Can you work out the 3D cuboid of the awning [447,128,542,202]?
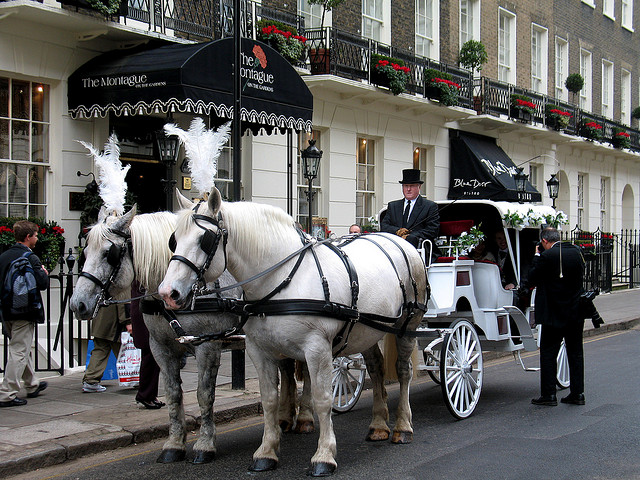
[{"bbox_3d":[5.323,-2.253,28.379,1.878,2.258,3.108,0,0,39],"label":"awning"}]

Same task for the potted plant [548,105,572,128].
[{"bbox_3d":[8.004,-4.216,31.728,0.950,0.718,0.727,1,0,-42],"label":"potted plant"}]

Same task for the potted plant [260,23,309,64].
[{"bbox_3d":[-0.812,-4.574,21.643,0.966,0.304,0.800,32,20,21],"label":"potted plant"}]

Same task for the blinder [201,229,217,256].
[{"bbox_3d":[-1.423,0.019,12.022,0.205,0.306,0.092,-2,9,-15],"label":"blinder"}]

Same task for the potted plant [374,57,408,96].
[{"bbox_3d":[1.881,-4.252,24.216,0.976,0.938,0.422,-8,12,-42],"label":"potted plant"}]

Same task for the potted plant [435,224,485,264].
[{"bbox_3d":[2.444,0.034,15.426,0.517,0.339,0.907,-10,13,5],"label":"potted plant"}]

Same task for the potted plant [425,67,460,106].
[{"bbox_3d":[3.385,-4.253,26.024,0.448,1.004,1.123,7,11,38],"label":"potted plant"}]

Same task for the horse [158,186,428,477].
[{"bbox_3d":[-0.179,1.121,12.912,3.990,3.805,1.562,-7,12,-39],"label":"horse"}]

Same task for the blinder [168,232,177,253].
[{"bbox_3d":[-1.894,0.027,12.083,0.079,0.255,0.196,-3,10,-19],"label":"blinder"}]
